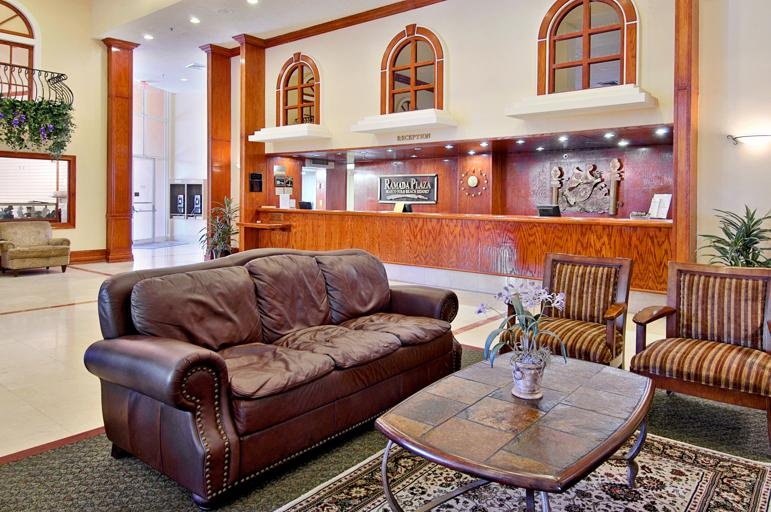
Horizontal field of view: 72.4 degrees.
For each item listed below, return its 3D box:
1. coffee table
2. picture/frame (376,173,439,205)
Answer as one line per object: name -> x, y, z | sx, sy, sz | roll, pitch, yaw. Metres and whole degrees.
coffee table -> 0.868, 1.059, 3.401 | 1.159, 0.689, 1.578 | 3, 8, 38
picture/frame -> 0.488, -1.472, 11.716 | 1.588, 0.676, 0.178 | 5, 9, 43
